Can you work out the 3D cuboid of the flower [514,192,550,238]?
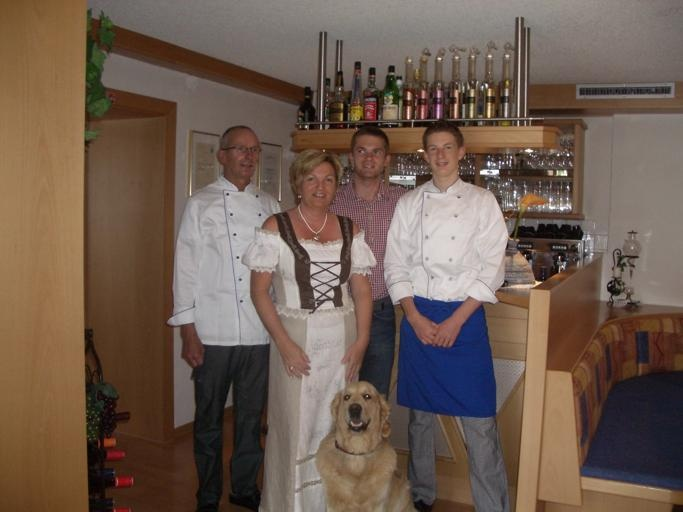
[{"bbox_3d":[1.892,-0.394,5.736,0.231,0.450,0.273,21,47,3],"label":"flower"}]

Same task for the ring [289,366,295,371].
[{"bbox_3d":[-0.226,0.510,2.621,0.021,0.027,0.011,-1,5,-7],"label":"ring"}]

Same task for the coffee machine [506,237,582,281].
[{"bbox_3d":[1.820,0.010,5.247,0.626,0.465,0.353,4,23,19],"label":"coffee machine"}]
